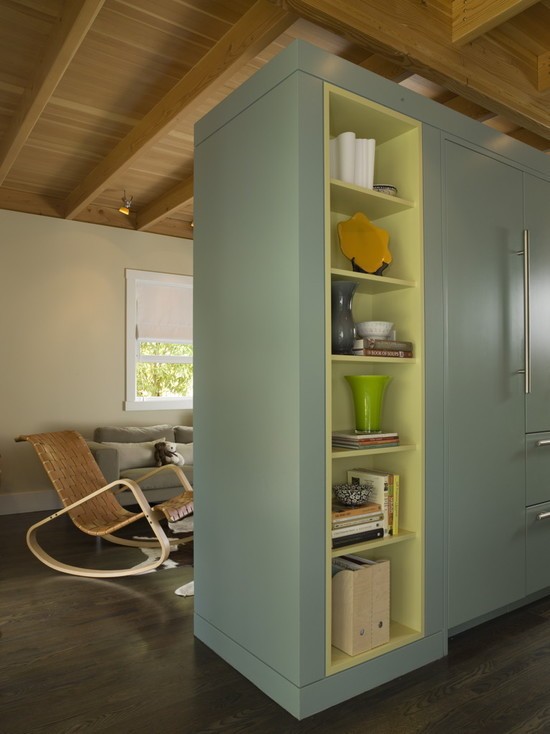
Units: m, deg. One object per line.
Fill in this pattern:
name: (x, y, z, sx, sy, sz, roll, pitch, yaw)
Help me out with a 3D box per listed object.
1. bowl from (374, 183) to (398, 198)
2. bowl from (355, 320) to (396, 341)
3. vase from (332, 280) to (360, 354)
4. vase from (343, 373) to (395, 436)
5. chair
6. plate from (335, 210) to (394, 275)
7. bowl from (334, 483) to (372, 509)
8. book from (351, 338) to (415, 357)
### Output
bowl: (0.424, -0.678, 2.239, 0.089, 0.028, 0.090, 1, 0, 0)
bowl: (0.378, -0.128, 2.161, 0.092, 0.040, 0.091, 0, -6, 0)
vase: (0.242, -0.174, 2.060, 0.083, 0.248, 0.077, -1, -2, 8)
vase: (0.344, 0.133, 2.145, 0.205, 0.226, 0.195, 3, -6, -38)
chair: (-0.959, 0.775, 3.655, 1.171, 0.820, 0.720, -1, -3, 25)
plate: (0.361, -0.470, 2.238, 0.258, 0.234, 0.088, 1, -2, -38)
bowl: (0.267, 0.461, 2.120, 0.093, 0.044, 0.091, -2, -6, 0)
book: (0.411, -0.066, 2.146, 0.277, 0.068, 0.085, 1, -2, -31)
